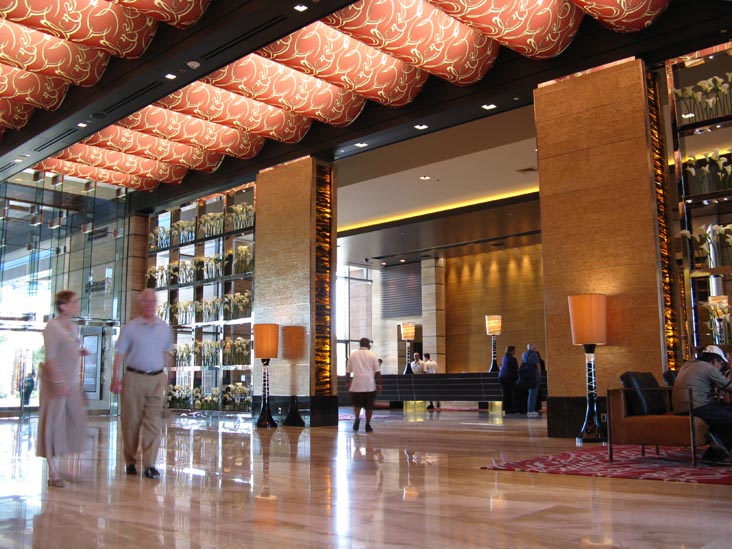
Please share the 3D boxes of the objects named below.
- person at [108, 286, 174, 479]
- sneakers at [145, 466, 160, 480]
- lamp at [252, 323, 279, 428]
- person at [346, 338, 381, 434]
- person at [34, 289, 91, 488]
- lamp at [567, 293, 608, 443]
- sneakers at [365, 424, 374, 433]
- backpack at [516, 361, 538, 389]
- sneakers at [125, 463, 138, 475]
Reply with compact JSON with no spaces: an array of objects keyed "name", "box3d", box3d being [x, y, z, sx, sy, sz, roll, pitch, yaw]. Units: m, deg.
[{"name":"person","box3d":[-2.381,1.117,5.929,0.563,1.932,0.704,4,-11,-21]},{"name":"sneakers","box3d":[-2.160,1.995,5.603,0.081,0.099,0.149,-11,-15,24]},{"name":"lamp","box3d":[-2.156,2.135,11.866,0.523,2.147,0.478,2,-11,-10]},{"name":"person","box3d":[-0.071,2.164,11.153,0.658,1.838,1.568,0,-10,-2]},{"name":"person","box3d":[-3.030,1.071,5.529,0.478,1.873,0.531,2,-11,-13]},{"name":"lamp","box3d":[3.263,1.339,8.105,0.568,2.104,0.663,-5,-12,23]},{"name":"sneakers","box3d":[0.038,2.901,10.543,0.188,0.149,0.100,1,-7,-7]},{"name":"backpack","box3d":[4.364,2.727,15.108,0.542,0.671,0.621,-3,-11,14]},{"name":"sneakers","box3d":[-2.456,2.047,5.846,0.143,0.117,0.078,-3,-8,20]}]
